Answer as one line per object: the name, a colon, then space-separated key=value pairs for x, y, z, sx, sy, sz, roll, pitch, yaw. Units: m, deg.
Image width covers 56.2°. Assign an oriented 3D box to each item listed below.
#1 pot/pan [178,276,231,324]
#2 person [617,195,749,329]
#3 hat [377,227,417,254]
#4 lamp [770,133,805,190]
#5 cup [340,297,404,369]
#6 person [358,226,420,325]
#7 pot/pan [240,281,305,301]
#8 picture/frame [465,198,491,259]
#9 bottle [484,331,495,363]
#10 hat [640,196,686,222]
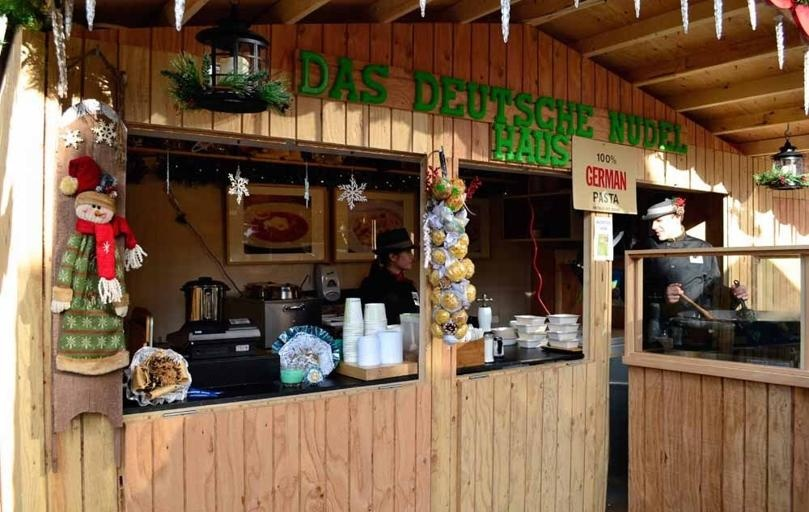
pot/pan: x=-1.618 y=0.351 z=6.032 sx=0.365 sy=0.328 sz=0.388 roll=1 pitch=-4 yaw=-12
person: x=2.394 y=0.032 z=6.375 sx=0.598 sy=1.591 sz=0.935 roll=9 pitch=-18 yaw=-20
hat: x=-0.102 y=-0.127 z=7.520 sx=0.303 sy=0.121 sz=0.259 roll=-11 pitch=-2 yaw=7
lamp: x=3.821 y=-0.943 z=7.547 sx=0.275 sy=0.576 sz=0.604 roll=1 pitch=-2 yaw=26
cup: x=-0.279 y=0.600 z=5.821 sx=0.400 sy=0.516 sz=0.525 roll=3 pitch=-4 yaw=-35
person: x=-0.133 y=0.179 z=7.362 sx=0.715 sy=1.153 sz=1.088 roll=-1 pitch=-2 yaw=-2
pot/pan: x=-1.170 y=0.312 z=6.650 sx=0.428 sy=0.141 sz=0.319 roll=2 pitch=-1 yaw=39
picture/frame: x=0.877 y=-0.336 z=9.155 sx=0.401 sy=0.729 sz=0.101 roll=3 pitch=-2 yaw=-44
bottle: x=0.692 y=0.748 z=6.204 sx=0.094 sy=0.235 sz=0.215 roll=1 pitch=-2 yaw=10
hat: x=2.344 y=-0.427 z=6.840 sx=0.265 sy=0.119 sz=0.269 roll=-8 pitch=-1 yaw=41
